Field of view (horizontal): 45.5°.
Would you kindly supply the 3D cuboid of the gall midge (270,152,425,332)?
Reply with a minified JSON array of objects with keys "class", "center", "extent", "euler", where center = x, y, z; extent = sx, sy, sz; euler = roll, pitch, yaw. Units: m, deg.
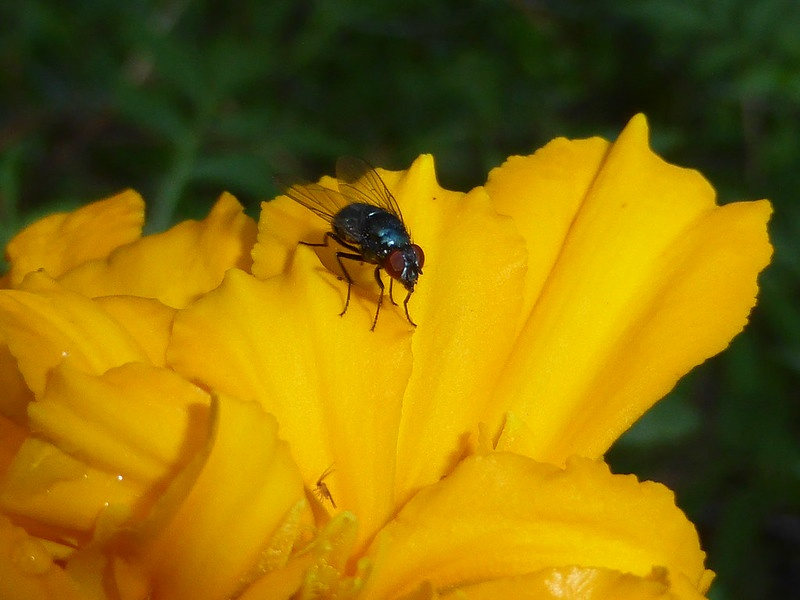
[{"class":"gall midge","center":[-0.080,-0.110,1.819],"extent":[0.202,0.136,0.384],"euler":[-1,34,-38]}]
